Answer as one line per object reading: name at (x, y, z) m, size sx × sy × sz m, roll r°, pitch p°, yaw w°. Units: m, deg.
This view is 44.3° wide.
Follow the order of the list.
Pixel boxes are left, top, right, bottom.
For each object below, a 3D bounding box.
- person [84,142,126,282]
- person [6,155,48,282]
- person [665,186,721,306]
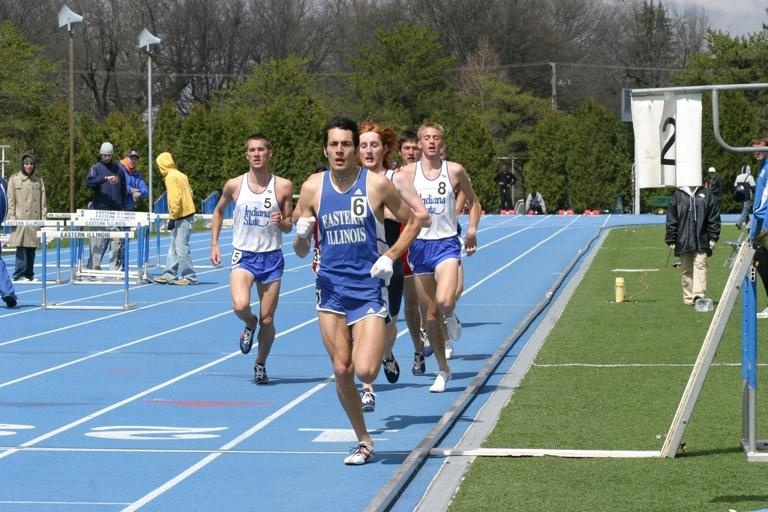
person at (-5.300, -0.892, 18.069) m, size 0.871 × 2.416 × 0.990 m, roll 3°, pitch 3°, yaw 37°
person at (-6.983, -0.783, 18.397) m, size 0.870 × 2.764 × 0.810 m, roll 0°, pitch -2°, yaw -5°
person at (4.729, -0.135, 14.465) m, size 0.759 × 1.814 × 0.452 m, roll 0°, pitch 4°, yaw 20°
